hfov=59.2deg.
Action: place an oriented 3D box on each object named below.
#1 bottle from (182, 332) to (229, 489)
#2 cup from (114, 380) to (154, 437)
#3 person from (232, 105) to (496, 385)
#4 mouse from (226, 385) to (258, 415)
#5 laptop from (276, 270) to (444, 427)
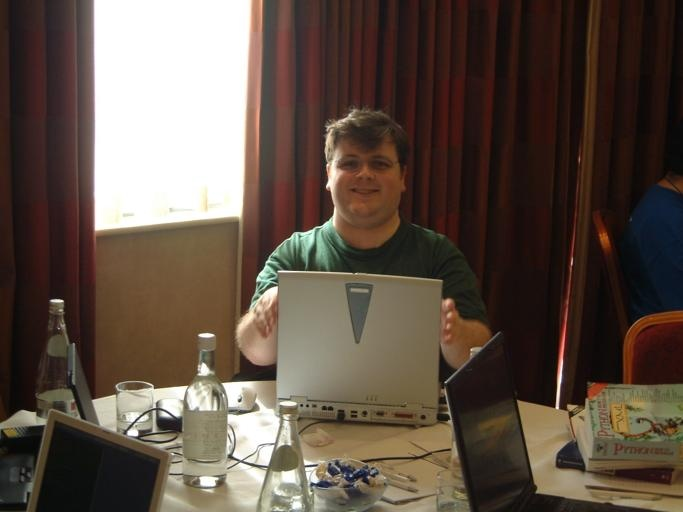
[{"bbox_3d":[-0.321,0.382,1.406,0.097,0.323,0.085,1,-5,-15],"label":"bottle"},{"bbox_3d":[-0.543,0.411,1.651,0.112,0.150,0.122,2,7,0],"label":"cup"},{"bbox_3d":[0.072,-0.052,2.454,0.904,1.388,0.956,0,-14,3],"label":"person"},{"bbox_3d":[-0.302,0.425,1.804,0.078,0.085,0.063,8,4,9],"label":"mouse"},{"bbox_3d":[0.060,0.211,1.857,0.484,0.527,0.390,2,8,5],"label":"laptop"}]
